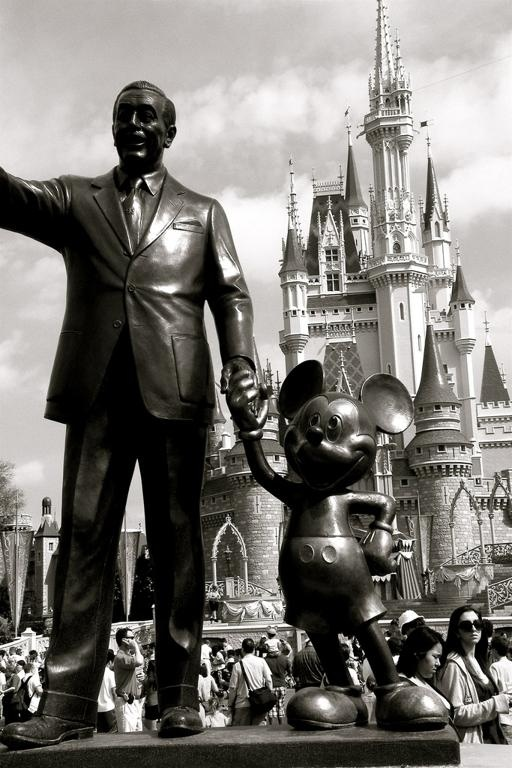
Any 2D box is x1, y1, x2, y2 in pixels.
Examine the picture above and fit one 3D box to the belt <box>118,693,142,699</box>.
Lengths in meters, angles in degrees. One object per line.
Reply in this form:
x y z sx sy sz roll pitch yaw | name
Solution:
-1.020 2.478 8.470 0.081 0.046 0.123 7 -16 -38 | belt
